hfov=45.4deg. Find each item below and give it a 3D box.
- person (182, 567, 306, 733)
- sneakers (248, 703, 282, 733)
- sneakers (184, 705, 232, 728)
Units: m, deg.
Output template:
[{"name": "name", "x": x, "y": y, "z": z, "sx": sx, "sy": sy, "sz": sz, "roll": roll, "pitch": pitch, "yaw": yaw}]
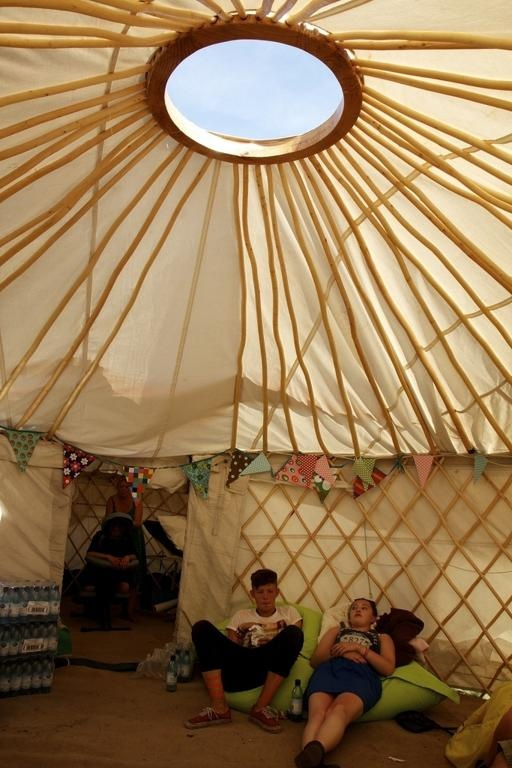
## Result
[{"name": "person", "x": -0.032, "y": 1.334, "z": 2.994, "sx": 0.526, "sy": 0.677, "sz": 0.817, "roll": -6, "pitch": 39, "yaw": 12}, {"name": "sneakers", "x": 0.042, "y": 1.502, "z": 2.725, "sx": 0.073, "sy": 0.180, "sz": 0.071, "roll": 15, "pitch": 63, "yaw": -27}, {"name": "sneakers", "x": -0.207, "y": 1.436, "z": 2.649, "sx": 0.196, "sy": 0.070, "sz": 0.073, "roll": 17, "pitch": 57, "yaw": -24}]
